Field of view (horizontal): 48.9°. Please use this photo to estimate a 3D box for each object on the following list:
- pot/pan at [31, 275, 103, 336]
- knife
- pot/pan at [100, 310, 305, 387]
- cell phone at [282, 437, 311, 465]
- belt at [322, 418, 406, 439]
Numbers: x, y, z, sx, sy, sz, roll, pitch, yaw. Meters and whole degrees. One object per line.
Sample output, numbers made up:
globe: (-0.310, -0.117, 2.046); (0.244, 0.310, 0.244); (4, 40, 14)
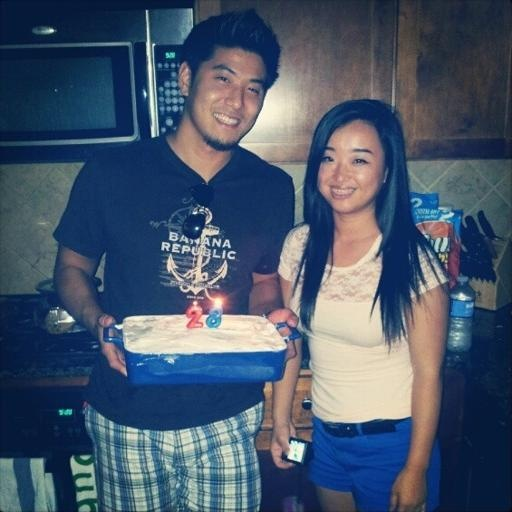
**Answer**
pot/pan: (-0.736, 0.199, 2.217); (0.261, 0.194, 0.287); (4, 5, -5)
knife: (0.915, -0.054, 2.345); (0.170, 0.279, 0.066); (0, -24, 14)
pot/pan: (-0.139, 0.235, 1.480); (0.487, 0.156, 0.238); (-4, 11, -6)
cell phone: (0.119, 0.581, 1.674); (0.079, 0.073, 0.019); (4, -19, 34)
belt: (0.303, 0.496, 1.619); (0.227, 0.070, 0.037); (1, 12, 19)
